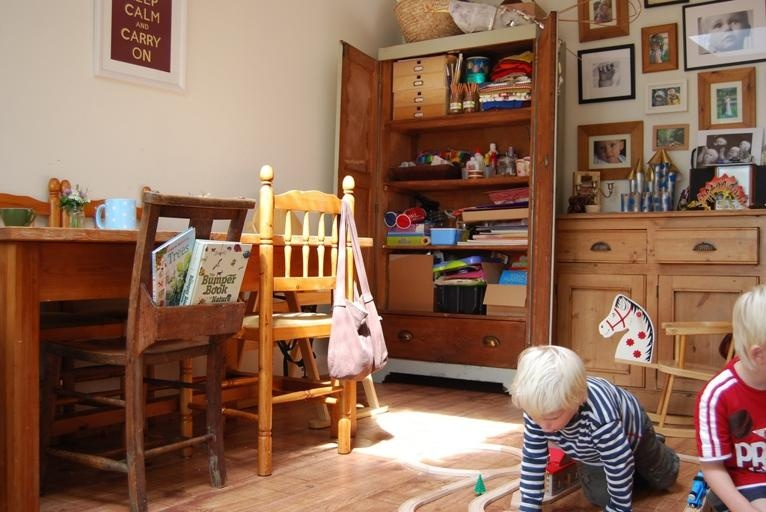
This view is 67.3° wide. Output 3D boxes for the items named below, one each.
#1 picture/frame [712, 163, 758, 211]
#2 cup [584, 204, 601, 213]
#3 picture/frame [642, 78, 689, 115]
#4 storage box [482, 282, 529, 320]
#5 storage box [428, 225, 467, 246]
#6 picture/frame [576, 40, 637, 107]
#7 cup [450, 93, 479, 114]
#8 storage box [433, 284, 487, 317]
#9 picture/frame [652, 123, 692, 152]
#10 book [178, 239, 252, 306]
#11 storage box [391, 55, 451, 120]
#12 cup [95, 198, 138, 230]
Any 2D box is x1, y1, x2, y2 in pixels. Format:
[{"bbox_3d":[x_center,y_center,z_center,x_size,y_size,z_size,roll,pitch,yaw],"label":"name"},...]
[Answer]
[{"bbox_3d":[2.198,-0.427,3.695,0.275,0.359,0.206,0,-2,17],"label":"picture/frame"},{"bbox_3d":[1.398,-0.287,3.827,0.071,0.047,0.070,-1,-3,0],"label":"cup"},{"bbox_3d":[1.915,-1.034,3.869,0.296,0.230,0.038,1,-4,26],"label":"picture/frame"},{"bbox_3d":[0.788,0.311,3.726,0.222,0.126,0.223,0,-2,28],"label":"storage box"},{"bbox_3d":[0.431,-0.125,4.026,0.173,0.081,0.133,-3,-5,24],"label":"storage box"},{"bbox_3d":[1.585,-1.233,4.030,0.548,0.501,0.036,-1,-1,26],"label":"picture/frame"},{"bbox_3d":[0.551,-1.012,3.986,0.149,0.087,0.145,-1,-2,0],"label":"cup"},{"bbox_3d":[0.522,0.306,3.907,0.311,0.140,0.216,-2,-5,30],"label":"storage box"},{"bbox_3d":[1.944,-0.762,3.846,0.220,0.167,0.015,1,-2,30],"label":"picture/frame"},{"bbox_3d":[-0.654,0.068,2.189,0.089,0.230,0.254,16,0,33],"label":"book"},{"bbox_3d":[0.285,-1.153,4.062,0.525,0.466,0.295,0,-2,25],"label":"storage box"},{"bbox_3d":[-1.031,-0.151,2.305,0.209,0.145,0.128,-2,4,-35],"label":"cup"}]
